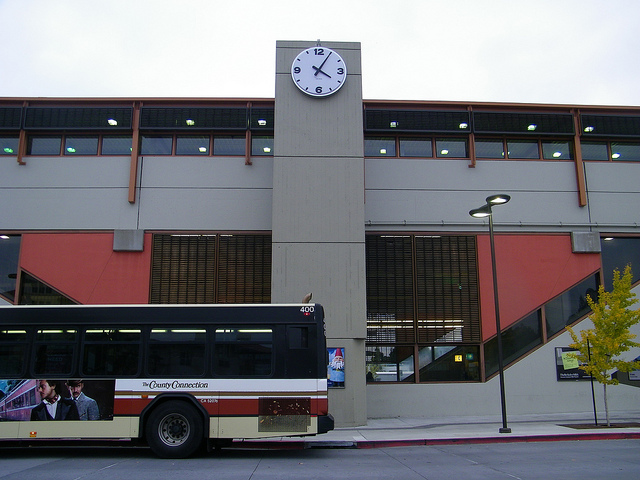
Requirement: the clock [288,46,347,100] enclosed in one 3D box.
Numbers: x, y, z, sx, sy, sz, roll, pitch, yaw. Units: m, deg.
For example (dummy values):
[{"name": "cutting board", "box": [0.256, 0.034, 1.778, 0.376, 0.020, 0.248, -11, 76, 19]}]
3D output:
[{"name": "clock", "box": [-0.050, -6.629, 28.061, 2.146, 2.168, 0.218, 0, -13, -4]}]
